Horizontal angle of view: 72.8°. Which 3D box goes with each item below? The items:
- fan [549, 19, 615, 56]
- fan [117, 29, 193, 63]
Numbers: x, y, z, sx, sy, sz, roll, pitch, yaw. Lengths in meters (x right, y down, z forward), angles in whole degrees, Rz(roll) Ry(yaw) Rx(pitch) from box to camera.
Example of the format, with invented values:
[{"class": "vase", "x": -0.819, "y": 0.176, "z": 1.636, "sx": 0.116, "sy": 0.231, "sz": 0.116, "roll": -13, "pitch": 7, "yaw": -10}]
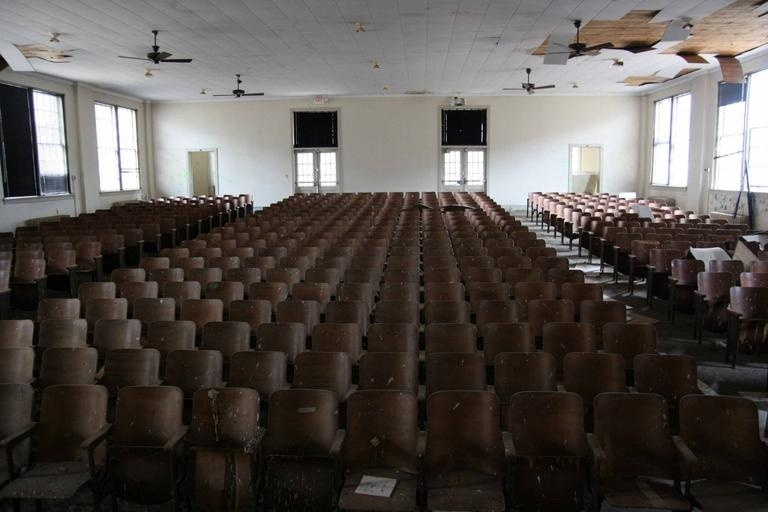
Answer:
[{"class": "fan", "x": 4.138, "y": -4.300, "z": 10.809, "sx": 1.203, "sy": 0.520, "sz": 1.122, "roll": 0, "pitch": 7, "yaw": 0}, {"class": "fan", "x": -4.909, "y": -4.449, "z": 11.191, "sx": 1.404, "sy": 0.592, "sz": 1.533, "roll": -9, "pitch": 16, "yaw": -39}]
